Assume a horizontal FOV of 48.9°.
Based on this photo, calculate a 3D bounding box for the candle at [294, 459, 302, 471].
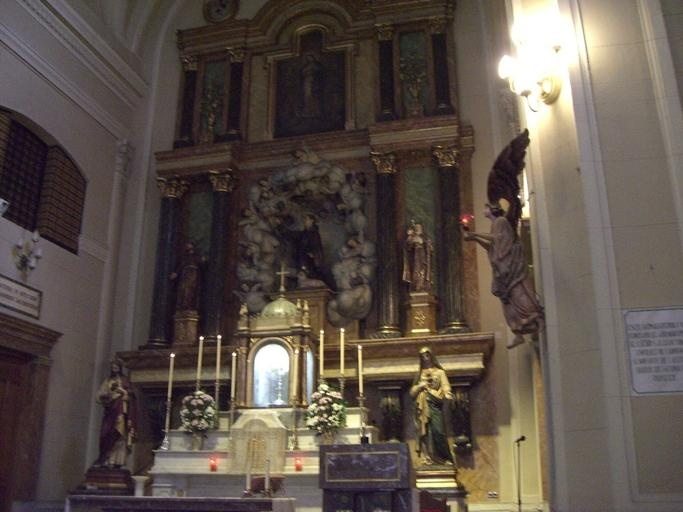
[{"bbox_3d":[-0.509,2.504,9.060,0.097,0.151,0.060,0,-19,-4],"label":"candle"}]

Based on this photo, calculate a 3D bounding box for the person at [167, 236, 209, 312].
[{"bbox_3d":[-2.521,0.368,12.397,0.611,1.178,0.300,-8,-20,18],"label":"person"}]

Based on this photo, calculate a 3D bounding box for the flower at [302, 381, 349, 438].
[{"bbox_3d":[-0.200,1.900,9.290,0.594,0.667,0.563,2,-21,-2],"label":"flower"}]

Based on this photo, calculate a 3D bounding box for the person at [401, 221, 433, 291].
[{"bbox_3d":[1.145,0.040,11.363,0.399,1.028,0.267,-10,-21,23],"label":"person"}]

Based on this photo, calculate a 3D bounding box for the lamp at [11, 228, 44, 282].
[{"bbox_3d":[-4.474,-0.004,10.667,0.259,0.794,0.601,-10,-14,7],"label":"lamp"}]

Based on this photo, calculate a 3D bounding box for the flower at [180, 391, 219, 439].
[{"bbox_3d":[-1.805,2.059,9.876,0.532,0.558,0.522,2,-16,-9],"label":"flower"}]

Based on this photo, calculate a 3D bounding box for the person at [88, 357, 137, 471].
[{"bbox_3d":[-3.191,2.201,10.683,0.551,1.503,0.408,4,-20,-15],"label":"person"}]

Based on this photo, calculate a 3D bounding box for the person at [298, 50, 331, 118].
[{"bbox_3d":[-0.547,-3.083,13.386,0.457,1.193,0.172,-1,1,-3],"label":"person"}]

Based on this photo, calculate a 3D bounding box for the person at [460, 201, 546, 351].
[{"bbox_3d":[1.748,0.241,7.864,0.640,1.411,0.332,-5,-20,11],"label":"person"}]

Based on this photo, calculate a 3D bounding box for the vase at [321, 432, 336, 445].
[{"bbox_3d":[-0.125,2.227,9.278,0.257,0.146,0.234,6,-20,-20],"label":"vase"}]

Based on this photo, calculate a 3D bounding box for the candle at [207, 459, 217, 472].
[{"bbox_3d":[-1.588,2.588,9.332,0.104,0.159,0.120,1,-19,-6],"label":"candle"}]
